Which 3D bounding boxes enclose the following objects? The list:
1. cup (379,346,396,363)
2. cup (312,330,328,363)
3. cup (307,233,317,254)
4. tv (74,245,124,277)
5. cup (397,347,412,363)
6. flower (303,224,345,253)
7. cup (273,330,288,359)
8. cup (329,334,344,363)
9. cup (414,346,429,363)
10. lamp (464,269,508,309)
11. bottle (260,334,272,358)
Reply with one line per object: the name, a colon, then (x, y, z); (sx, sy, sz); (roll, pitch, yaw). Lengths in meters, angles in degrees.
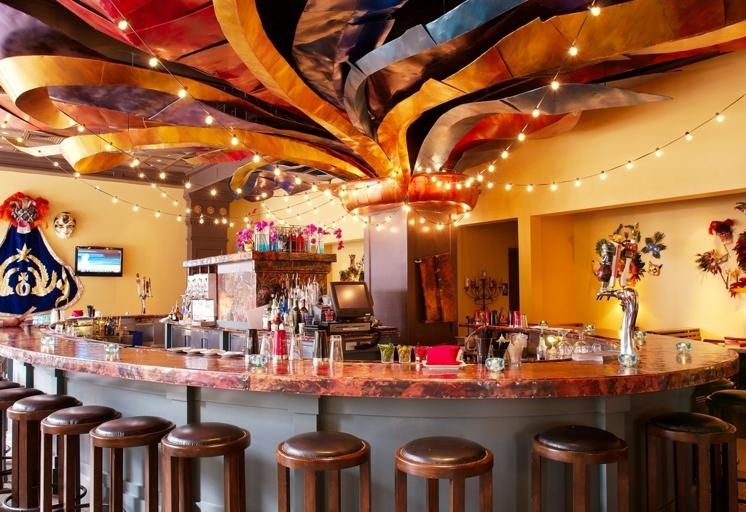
cup: (0.141, 0.891, 5.177); (0.150, 0.123, 0.152); (2, -5, 0)
cup: (-0.491, 0.823, 5.286); (0.138, 0.270, 0.226); (-2, 9, -1)
cup: (-0.905, -0.193, 8.655); (0.090, 0.263, 0.211); (3, 11, 26)
tv: (-6.637, 0.119, 13.647); (0.798, 0.560, 0.108); (1, 0, -27)
cup: (0.293, 0.887, 5.102); (0.143, 0.122, 0.141); (0, -5, 0)
flower: (-0.885, -0.299, 8.891); (0.922, 0.483, 0.738); (1, -1, -1)
cup: (-0.866, 0.822, 5.323); (0.138, 0.256, 0.134); (-2, 10, 0)
cup: (-0.336, 0.822, 5.126); (0.117, 0.237, 0.217); (-3, 9, -4)
cup: (0.428, 0.861, 5.030); (0.103, 0.128, 0.146); (-2, 9, 2)
lamp: (2.500, 0.704, 12.465); (0.833, 1.088, 0.851); (0, -1, 43)
bottle: (-0.982, 0.832, 5.218); (0.100, 0.217, 0.249); (-2, 9, -2)
